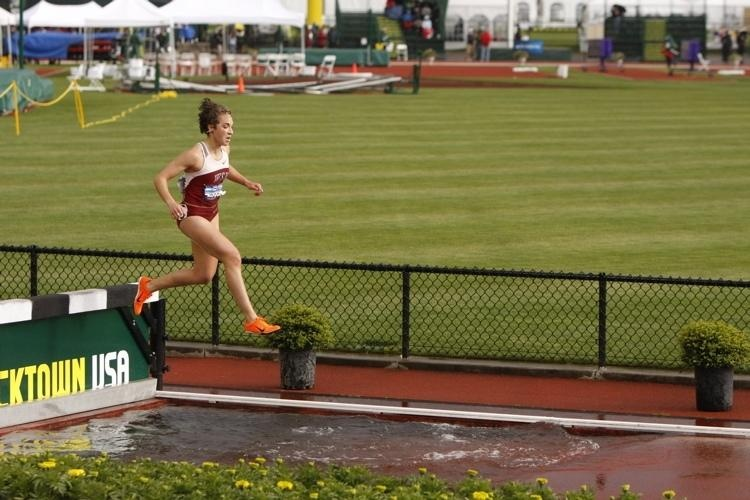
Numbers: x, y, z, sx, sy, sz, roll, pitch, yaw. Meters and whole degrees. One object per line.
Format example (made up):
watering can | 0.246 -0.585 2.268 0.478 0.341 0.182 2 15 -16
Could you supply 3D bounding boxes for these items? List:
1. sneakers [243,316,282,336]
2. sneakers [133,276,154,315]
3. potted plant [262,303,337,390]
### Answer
sneakers | -1.773 1.175 24.619 0.668 0.248 0.236 1 10 -5
sneakers | -3.545 0.681 24.655 0.310 0.594 0.222 9 8 13
potted plant | -1.152 1.542 25.964 1.384 1.310 1.347 3 1 13
